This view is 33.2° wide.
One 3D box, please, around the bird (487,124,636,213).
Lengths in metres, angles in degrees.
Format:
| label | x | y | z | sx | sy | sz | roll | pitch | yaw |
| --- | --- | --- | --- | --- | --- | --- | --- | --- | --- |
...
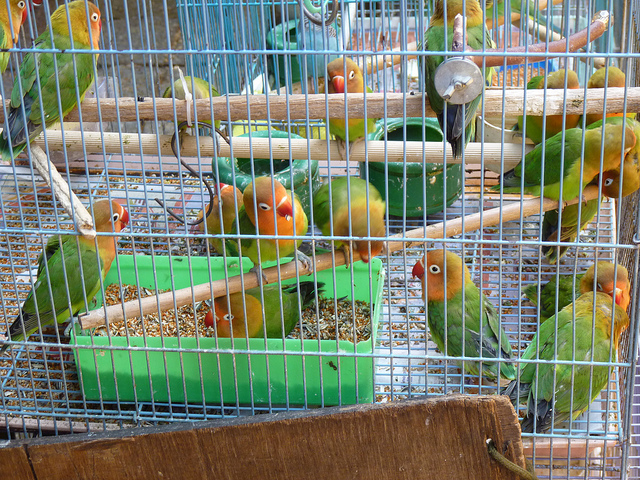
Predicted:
| label | x | y | z | sx | sy | sz | roll | pitch | yaw |
| --- | --- | --- | --- | --- | --- | --- | --- | --- | --- |
| bird | 0.584 | -0.162 | 2.571 | 0.330 | 0.250 | 0.278 | 0 | 16 | 18 |

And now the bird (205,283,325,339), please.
| label | x | y | z | sx | sy | sz | roll | pitch | yaw |
| --- | --- | --- | --- | --- | --- | --- | --- | --- | --- |
| bird | -0.129 | 0.166 | 2.544 | 0.256 | 0.129 | 0.139 | -17 | -4 | -32 |

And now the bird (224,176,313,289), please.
| label | x | y | z | sx | sy | sz | roll | pitch | yaw |
| --- | --- | --- | --- | --- | --- | --- | --- | --- | --- |
| bird | -0.121 | -0.057 | 2.502 | 0.158 | 0.292 | 0.187 | -15 | 29 | -13 |

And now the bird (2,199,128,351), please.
| label | x | y | z | sx | sy | sz | roll | pitch | yaw |
| --- | --- | --- | --- | --- | --- | --- | --- | --- | --- |
| bird | -0.607 | 0.096 | 2.587 | 0.256 | 0.304 | 0.136 | -17 | 52 | -24 |

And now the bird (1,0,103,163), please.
| label | x | y | z | sx | sy | sz | roll | pitch | yaw |
| --- | --- | --- | --- | --- | --- | --- | --- | --- | --- |
| bird | -0.610 | -0.356 | 2.415 | 0.255 | 0.369 | 0.562 | -7 | 15 | -9 |

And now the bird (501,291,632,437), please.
| label | x | y | z | sx | sy | sz | roll | pitch | yaw |
| --- | --- | --- | --- | --- | --- | --- | --- | --- | --- |
| bird | 0.567 | 0.290 | 2.444 | 0.273 | 0.158 | 0.316 | -2 | 40 | 32 |

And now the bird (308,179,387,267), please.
| label | x | y | z | sx | sy | sz | roll | pitch | yaw |
| --- | --- | --- | --- | --- | --- | --- | --- | --- | --- |
| bird | 0.064 | -0.057 | 2.398 | 0.130 | 0.233 | 0.159 | -15 | -5 | -15 |

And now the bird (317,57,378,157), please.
| label | x | y | z | sx | sy | sz | roll | pitch | yaw |
| --- | --- | --- | --- | --- | --- | --- | --- | --- | --- |
| bird | 0.077 | -0.351 | 2.680 | 0.122 | 0.275 | 0.270 | 8 | 26 | 15 |

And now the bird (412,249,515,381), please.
| label | x | y | z | sx | sy | sz | roll | pitch | yaw |
| --- | --- | --- | --- | --- | --- | --- | --- | --- | --- |
| bird | 0.341 | 0.168 | 2.565 | 0.195 | 0.339 | 0.328 | 2 | 23 | 18 |

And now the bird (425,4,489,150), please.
| label | x | y | z | sx | sy | sz | roll | pitch | yaw |
| --- | --- | --- | --- | --- | --- | --- | --- | --- | --- |
| bird | 0.298 | -0.368 | 2.335 | 0.143 | 0.314 | 0.524 | -2 | 16 | 9 |
